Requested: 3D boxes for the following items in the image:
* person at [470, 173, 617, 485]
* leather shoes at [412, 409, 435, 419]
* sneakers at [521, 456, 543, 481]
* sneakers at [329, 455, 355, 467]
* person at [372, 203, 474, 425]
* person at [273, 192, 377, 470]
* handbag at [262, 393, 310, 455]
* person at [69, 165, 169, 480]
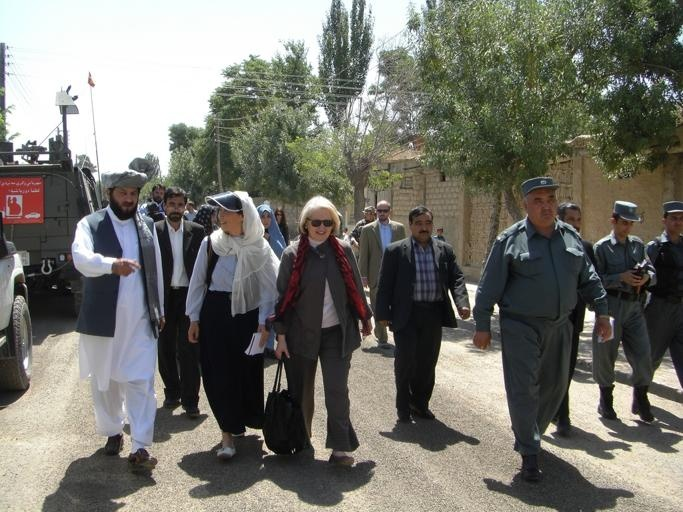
[{"bbox_3d":[1.756,0.579,5.154,1.173,2.537,0.657,-2,6,-23],"label":"person"},{"bbox_3d":[0.885,1.716,6.294,0.244,0.107,0.090,-8,-9,34],"label":"leather shoes"},{"bbox_3d":[1.594,1.792,4.888,0.099,0.215,0.301,-1,-10,3],"label":"sneakers"},{"bbox_3d":[-0.010,1.799,5.125,0.185,0.102,0.051,0,10,33],"label":"sneakers"},{"bbox_3d":[0.848,0.605,6.260,0.964,2.253,0.665,1,6,3],"label":"person"},{"bbox_3d":[-0.161,0.644,5.215,0.846,2.349,0.515,1,6,3],"label":"person"},{"bbox_3d":[-0.516,1.453,5.221,0.307,0.618,0.487,-5,19,-20],"label":"handbag"},{"bbox_3d":[-1.948,0.520,5.081,0.731,2.562,0.891,-1,6,-20],"label":"person"}]
